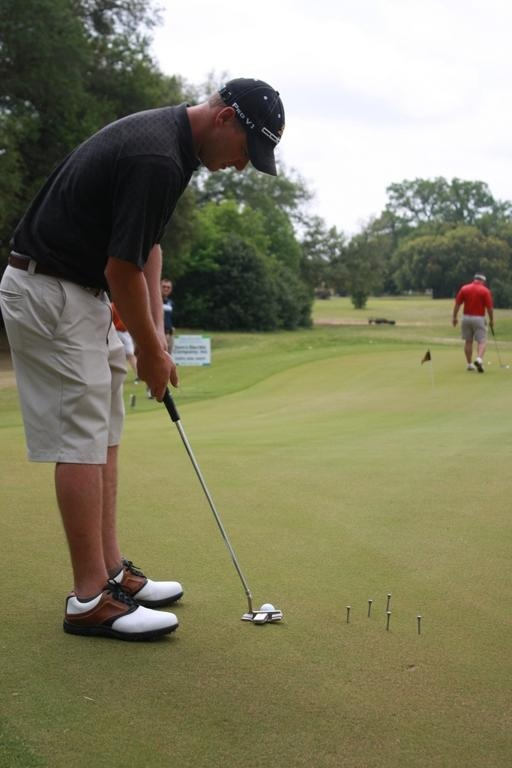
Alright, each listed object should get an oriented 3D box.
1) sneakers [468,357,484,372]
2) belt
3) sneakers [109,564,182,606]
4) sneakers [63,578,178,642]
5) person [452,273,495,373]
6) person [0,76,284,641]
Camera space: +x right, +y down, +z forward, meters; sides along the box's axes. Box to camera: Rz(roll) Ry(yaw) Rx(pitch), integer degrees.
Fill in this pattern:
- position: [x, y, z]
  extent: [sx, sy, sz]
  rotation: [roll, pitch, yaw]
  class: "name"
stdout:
- position: [3.807, -0.277, 13.348]
  extent: [0.158, 0.178, 0.425]
  rotation: [14, -23, 37]
  class: "sneakers"
- position: [-0.605, -0.332, 2.353]
  extent: [0.299, 0.120, 0.198]
  rotation: [0, 4, -12]
  class: "belt"
- position: [-0.371, 0.634, 2.526]
  extent: [0.287, 0.131, 0.097]
  rotation: [1, 13, 20]
  class: "sneakers"
- position: [-0.403, 0.655, 2.250]
  extent: [0.363, 0.163, 0.133]
  rotation: [0, -3, 6]
  class: "sneakers"
- position: [3.805, -1.074, 13.616]
  extent: [0.629, 1.697, 1.192]
  rotation: [2, 4, 16]
  class: "person"
- position: [-0.364, -0.115, 2.400]
  extent: [0.856, 1.678, 0.566]
  rotation: [1, 4, -2]
  class: "person"
